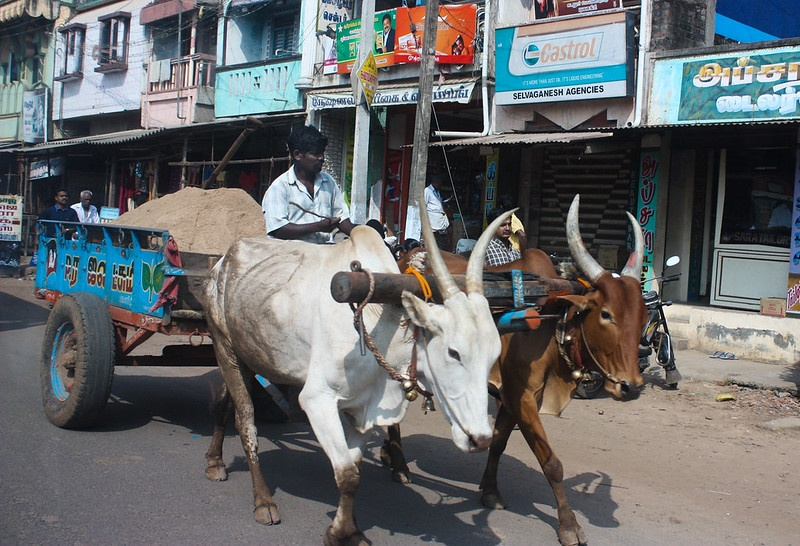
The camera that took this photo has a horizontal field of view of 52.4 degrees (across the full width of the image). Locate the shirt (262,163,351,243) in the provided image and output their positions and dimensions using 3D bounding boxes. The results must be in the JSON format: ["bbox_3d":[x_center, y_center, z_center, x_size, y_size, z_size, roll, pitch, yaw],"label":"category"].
[{"bbox_3d":[-1.053,-0.718,9.046,1.230,1.156,0.706,-3,5,-39],"label":"shirt"}]

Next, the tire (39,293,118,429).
[{"bbox_3d":[-3.528,0.979,8.859,0.525,1.669,1.359,6,-4,-42],"label":"tire"}]

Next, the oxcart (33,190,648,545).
[{"bbox_3d":[-1.241,0.581,8.728,6.966,3.410,3.021,7,5,42],"label":"oxcart"}]

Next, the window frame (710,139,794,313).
[{"bbox_3d":[5.984,-0.761,13.694,1.239,2.713,0.907,8,15,22],"label":"window frame"}]

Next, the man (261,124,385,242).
[{"bbox_3d":[-0.965,-0.851,8.726,0.924,1.433,1.063,-2,11,-17],"label":"man"}]

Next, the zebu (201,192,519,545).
[{"bbox_3d":[-0.562,0.846,7.420,3.089,3.143,0.958,10,16,27],"label":"zebu"}]

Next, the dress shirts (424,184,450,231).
[{"bbox_3d":[0.668,-1.135,14.346,0.410,0.827,0.748,-4,8,18],"label":"dress shirts"}]

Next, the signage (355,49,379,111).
[{"bbox_3d":[-0.611,-3.384,14.204,0.370,0.938,0.595,1,14,-6],"label":"signage"}]

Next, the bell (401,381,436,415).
[{"bbox_3d":[0.159,1.072,7.128,0.285,0.344,0.259,3,14,1],"label":"bell"}]

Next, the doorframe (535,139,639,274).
[{"bbox_3d":[3.294,-1.207,13.823,2.268,2.846,0.147,2,0,36],"label":"doorframe"}]
